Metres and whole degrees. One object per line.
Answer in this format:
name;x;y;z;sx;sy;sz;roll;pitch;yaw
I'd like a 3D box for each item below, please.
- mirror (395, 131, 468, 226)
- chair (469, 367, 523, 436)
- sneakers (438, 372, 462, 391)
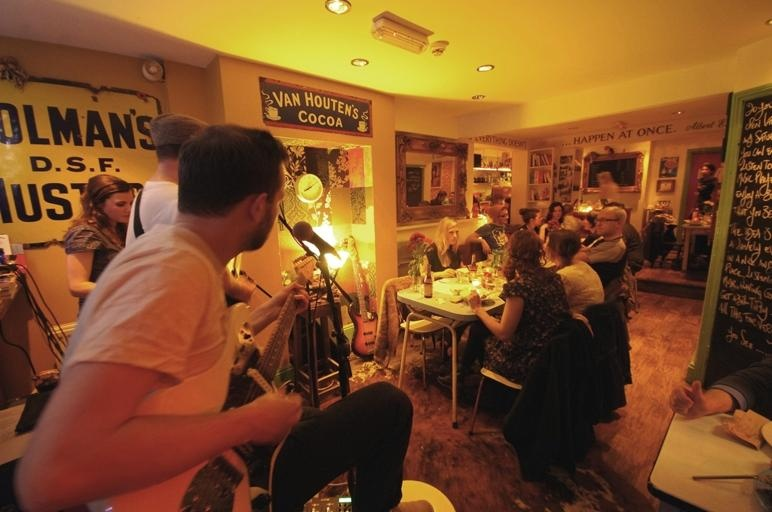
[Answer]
mirror;0.576;-1.084;7.224;1.459;1.001;0.073;-7;12;-43
chair;0.898;1.259;4.716;0.369;0.607;0.620;-1;10;-11
sneakers;0.614;1.238;5.273;0.354;0.152;0.124;3;2;21
